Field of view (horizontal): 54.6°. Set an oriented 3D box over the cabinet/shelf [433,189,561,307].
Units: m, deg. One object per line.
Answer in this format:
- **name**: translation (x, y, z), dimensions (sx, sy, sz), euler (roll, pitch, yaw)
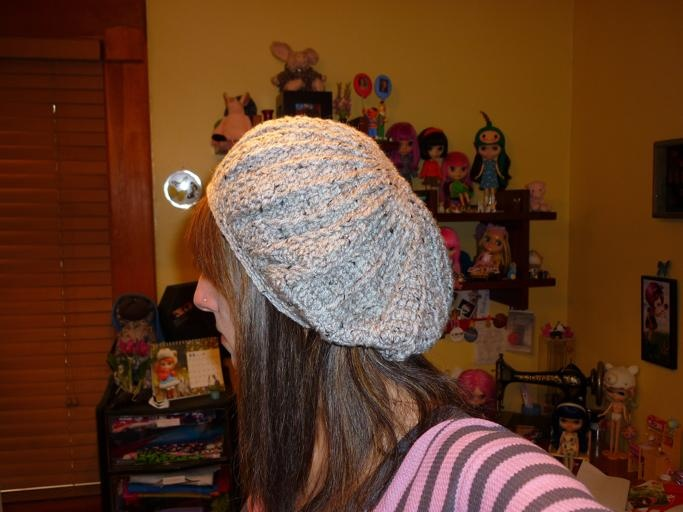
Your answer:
- **cabinet/shelf**: translation (0.763, -0.052, 3.189), dimensions (0.286, 0.554, 0.563), euler (7, 2, 7)
